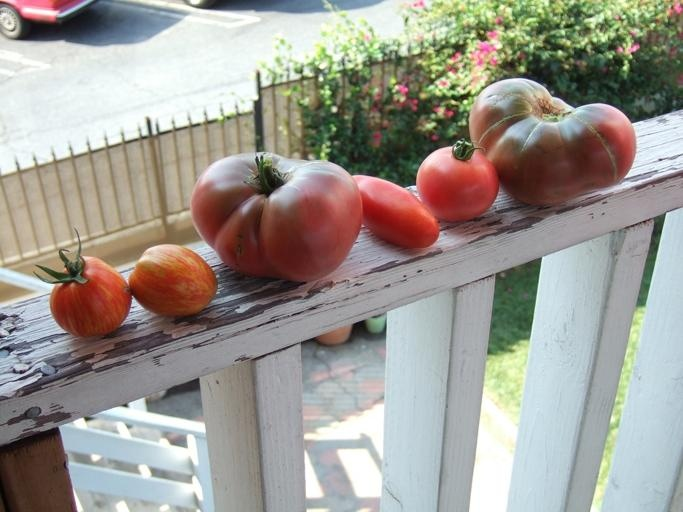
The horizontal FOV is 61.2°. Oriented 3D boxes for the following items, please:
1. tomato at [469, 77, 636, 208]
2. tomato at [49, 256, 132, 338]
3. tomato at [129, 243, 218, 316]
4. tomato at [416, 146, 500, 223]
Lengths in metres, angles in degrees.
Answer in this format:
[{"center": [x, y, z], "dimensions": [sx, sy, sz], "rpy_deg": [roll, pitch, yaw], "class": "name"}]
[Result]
[{"center": [0.321, -0.171, 0.897], "dimensions": [0.224, 0.144, 0.237], "rpy_deg": [-23, 39, -28], "class": "tomato"}, {"center": [-0.267, 0.040, 0.618], "dimensions": [0.079, 0.065, 0.076], "rpy_deg": [10, 28, 19], "class": "tomato"}, {"center": [-0.183, 0.028, 0.629], "dimensions": [0.089, 0.072, 0.072], "rpy_deg": [18, 33, 7], "class": "tomato"}, {"center": [0.173, -0.105, 0.839], "dimensions": [0.109, 0.119, 0.114], "rpy_deg": [12, 10, 20], "class": "tomato"}]
